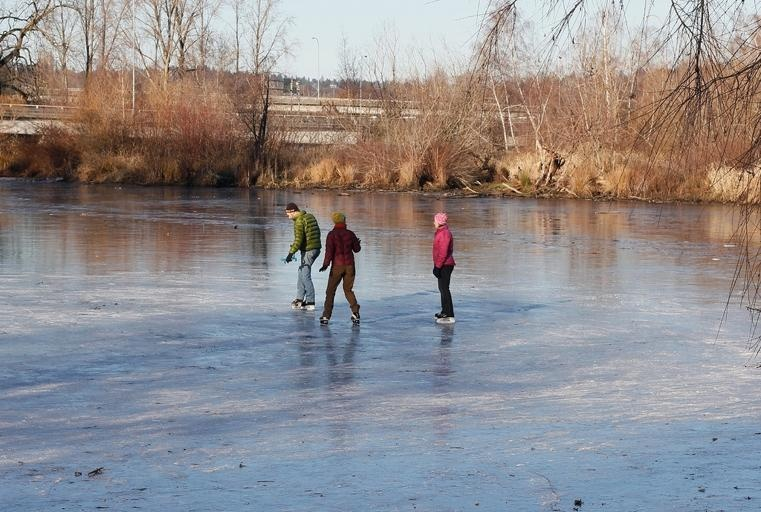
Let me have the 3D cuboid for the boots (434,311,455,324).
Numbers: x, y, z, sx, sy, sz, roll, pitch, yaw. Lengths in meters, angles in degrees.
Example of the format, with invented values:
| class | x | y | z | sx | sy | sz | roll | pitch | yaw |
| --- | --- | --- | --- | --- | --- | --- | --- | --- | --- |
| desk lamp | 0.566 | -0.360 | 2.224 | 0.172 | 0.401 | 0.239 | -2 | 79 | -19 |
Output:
| class | x | y | z | sx | sy | sz | roll | pitch | yaw |
| --- | --- | --- | --- | --- | --- | --- | --- | --- | --- |
| boots | 1.011 | 1.035 | 17.883 | 0.299 | 0.099 | 0.158 | 0 | 7 | -1 |

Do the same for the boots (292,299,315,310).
| class | x | y | z | sx | sy | sz | roll | pitch | yaw |
| --- | --- | --- | --- | --- | --- | --- | --- | --- | --- |
| boots | -1.336 | 0.857 | 18.855 | 0.418 | 0.152 | 0.137 | 6 | 0 | 5 |

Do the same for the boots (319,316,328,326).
| class | x | y | z | sx | sy | sz | roll | pitch | yaw |
| --- | --- | --- | --- | --- | --- | --- | --- | --- | --- |
| boots | -0.921 | 1.067 | 17.603 | 0.152 | 0.102 | 0.125 | -3 | 2 | -4 |

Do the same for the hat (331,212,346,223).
| class | x | y | z | sx | sy | sz | roll | pitch | yaw |
| --- | --- | --- | --- | --- | --- | --- | --- | --- | --- |
| hat | -0.703 | -0.594 | 18.238 | 0.254 | 0.217 | 0.283 | 1 | 14 | 1 |
